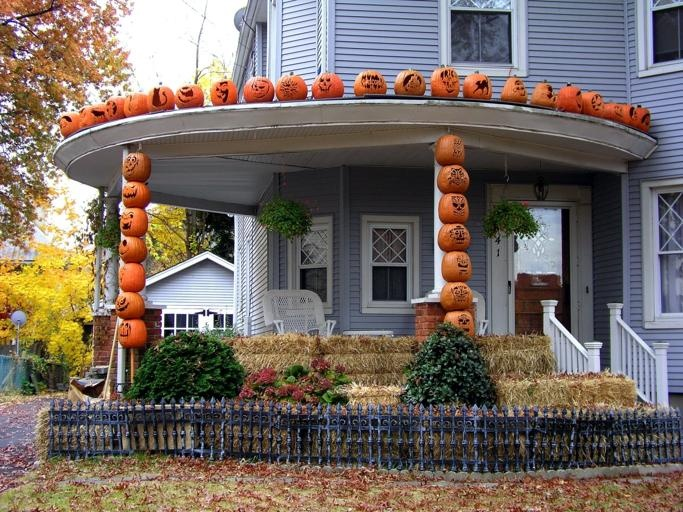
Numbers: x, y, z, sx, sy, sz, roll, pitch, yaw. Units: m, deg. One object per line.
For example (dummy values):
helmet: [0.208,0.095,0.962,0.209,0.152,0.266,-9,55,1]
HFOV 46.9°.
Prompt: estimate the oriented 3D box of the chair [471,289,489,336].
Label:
chair: [2.472,1.071,14.017,0.282,0.794,0.389,0,-16,-13]
